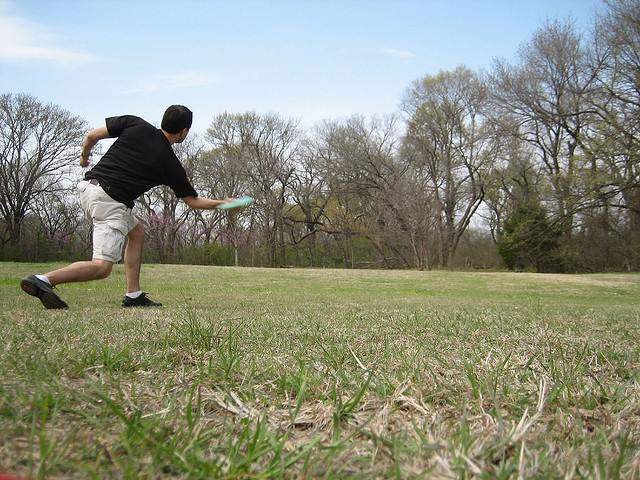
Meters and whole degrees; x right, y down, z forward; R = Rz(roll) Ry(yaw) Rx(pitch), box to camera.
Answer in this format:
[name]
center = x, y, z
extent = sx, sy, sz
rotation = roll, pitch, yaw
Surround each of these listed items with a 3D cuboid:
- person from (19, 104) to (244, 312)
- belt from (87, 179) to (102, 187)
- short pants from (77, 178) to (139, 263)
[person]
center = -1.853, -0.291, 4.545
extent = 1.461, 1.932, 1.153
rotation = -1, -2, -28
[belt]
center = -2.055, -0.524, 4.455
extent = 0.071, 0.020, 0.071
rotation = 26, -7, -6
[short pants]
center = -1.990, -0.180, 4.528
extent = 0.405, 0.759, 0.244
rotation = -1, -1, -27
